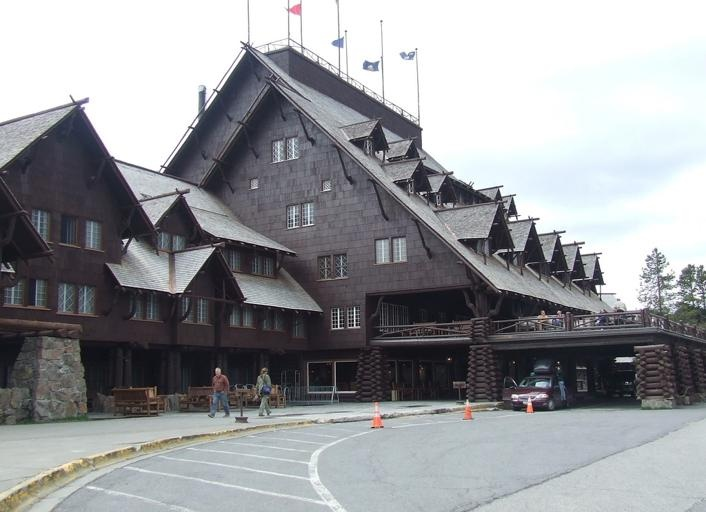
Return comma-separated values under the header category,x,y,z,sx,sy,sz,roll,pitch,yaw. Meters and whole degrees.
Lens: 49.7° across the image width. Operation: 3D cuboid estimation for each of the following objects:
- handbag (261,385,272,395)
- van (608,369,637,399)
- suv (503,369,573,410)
category,x,y,z,sx,sy,sz,roll,pitch,yaw
handbag,-3.707,5.660,32.439,0.232,0.431,0.526,-7,-15,17
van,20.627,10.099,59.071,2.092,2.257,3.579,-3,-5,23
suv,9.646,6.994,39.197,3.134,1.993,2.617,-2,-15,-5
